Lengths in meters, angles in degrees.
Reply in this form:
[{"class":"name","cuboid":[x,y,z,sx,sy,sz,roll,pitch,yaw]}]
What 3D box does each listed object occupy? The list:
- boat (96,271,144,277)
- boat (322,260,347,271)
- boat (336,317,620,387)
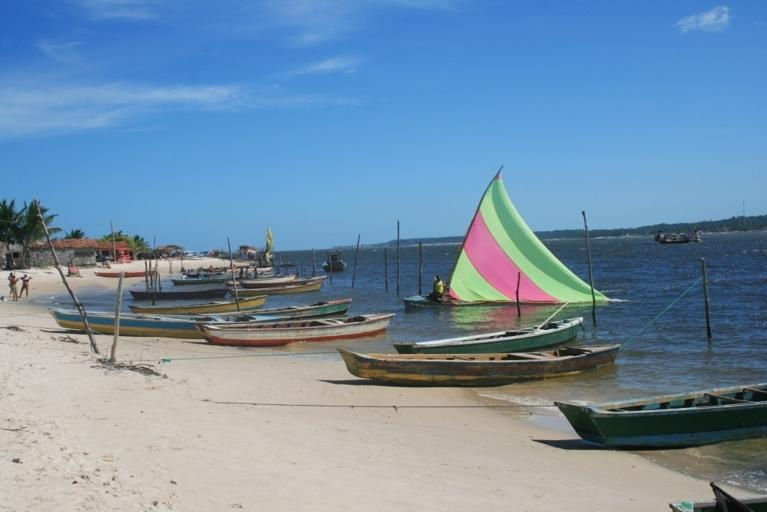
[{"class":"boat","cuboid":[-24.197,1.657,71.300,4.660,0.438,0.902,0,4,17]},{"class":"boat","cuboid":[-6.054,1.193,94.569,2.425,1.108,6.016,0,-1,0]},{"class":"boat","cuboid":[3.415,4.046,28.744,10.067,1.436,1.370,-1,0,-11]}]
